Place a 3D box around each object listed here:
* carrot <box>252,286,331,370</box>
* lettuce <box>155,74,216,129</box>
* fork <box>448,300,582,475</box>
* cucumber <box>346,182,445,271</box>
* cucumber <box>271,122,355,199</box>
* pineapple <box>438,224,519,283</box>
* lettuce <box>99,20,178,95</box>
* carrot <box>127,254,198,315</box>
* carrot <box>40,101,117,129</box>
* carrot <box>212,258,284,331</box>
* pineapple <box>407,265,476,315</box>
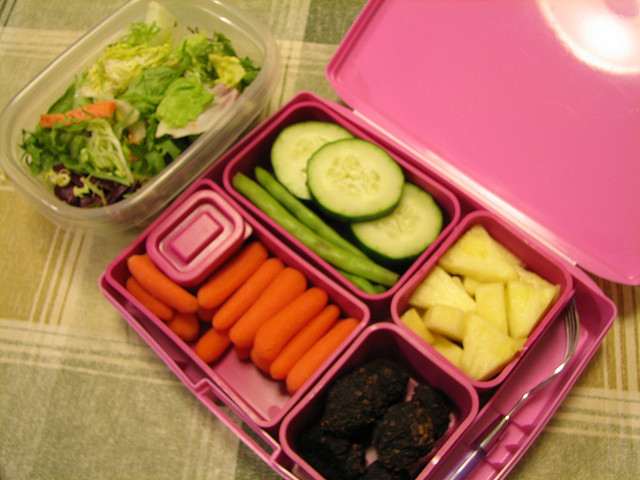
[{"bbox_3d":[-0.100,0.290,2.114,0.162,0.369,0.123,42,-6,-11],"label":"carrot"},{"bbox_3d":[-0.506,-0.489,2.160,0.148,0.212,0.041,43,-12,-6],"label":"lettuce"},{"bbox_3d":[0.642,0.507,2.013,0.075,0.660,0.074,37,2,34],"label":"fork"},{"bbox_3d":[0.294,-0.034,2.145,0.270,0.305,0.076,38,-6,14],"label":"cucumber"},{"bbox_3d":[-0.034,-0.307,2.213,0.254,0.270,0.067,17,-12,-2],"label":"cucumber"},{"bbox_3d":[0.547,0.060,2.082,0.181,0.223,0.189,35,-44,54],"label":"pineapple"},{"bbox_3d":[-0.671,-0.667,2.309,0.234,0.291,0.140,43,-23,19],"label":"lettuce"},{"bbox_3d":[-0.545,0.145,2.065,0.285,0.143,0.061,30,-16,2],"label":"carrot"},{"bbox_3d":[-0.863,-0.448,2.152,0.056,0.204,0.055,85,-6,-53],"label":"carrot"},{"bbox_3d":[-0.258,0.200,2.100,0.065,0.286,0.069,36,-8,29],"label":"carrot"},{"bbox_3d":[0.425,0.179,2.072,0.194,0.221,0.143,-3,-64,13],"label":"pineapple"}]
